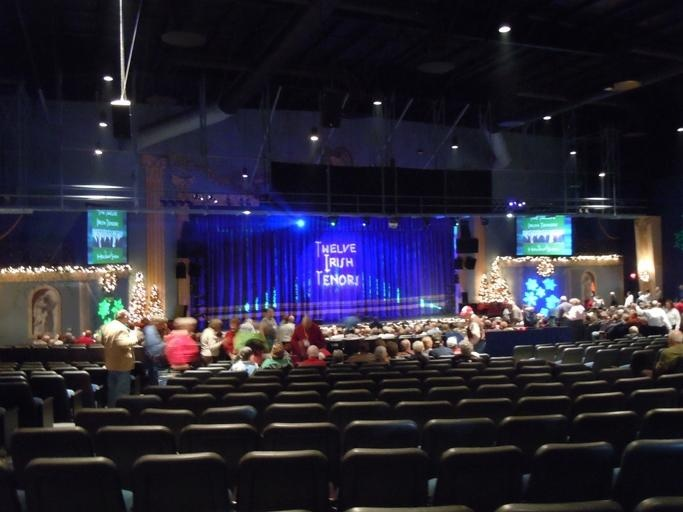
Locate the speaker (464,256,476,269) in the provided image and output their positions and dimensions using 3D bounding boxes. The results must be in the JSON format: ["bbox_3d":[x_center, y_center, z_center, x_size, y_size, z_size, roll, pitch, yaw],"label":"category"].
[{"bbox_3d":[4.905,0.275,25.908,0.120,0.447,0.445,5,3,-41],"label":"speaker"}]

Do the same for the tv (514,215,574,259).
[{"bbox_3d":[7.657,-0.721,26.273,2.150,1.625,0.047,0,-18,19],"label":"tv"}]

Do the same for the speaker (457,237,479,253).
[{"bbox_3d":[4.353,-0.304,24.095,0.829,0.583,0.455,2,-18,-6],"label":"speaker"}]

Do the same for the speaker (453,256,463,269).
[{"bbox_3d":[4.470,0.251,26.373,0.313,0.461,0.302,-2,-2,10],"label":"speaker"}]
